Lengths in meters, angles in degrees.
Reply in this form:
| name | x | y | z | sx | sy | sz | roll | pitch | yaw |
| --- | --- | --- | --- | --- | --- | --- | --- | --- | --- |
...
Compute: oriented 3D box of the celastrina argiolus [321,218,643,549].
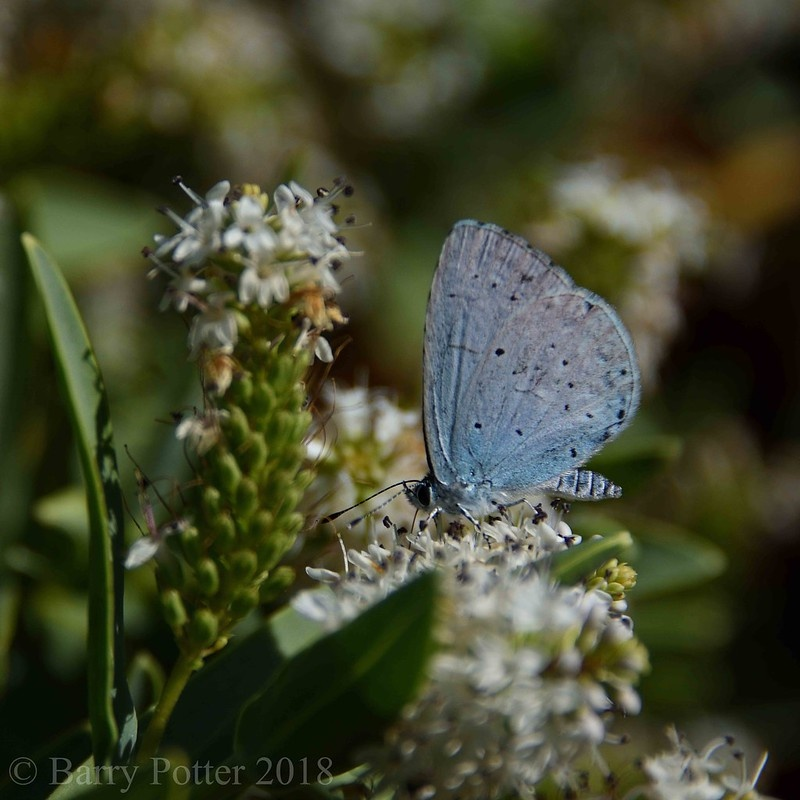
| name | x | y | z | sx | sy | sz | roll | pitch | yaw |
| --- | --- | --- | --- | --- | --- | --- | --- | --- | --- |
| celastrina argiolus | 0.229 | -0.017 | 2.107 | 0.432 | 0.617 | 0.574 | -3 | 24 | 12 |
